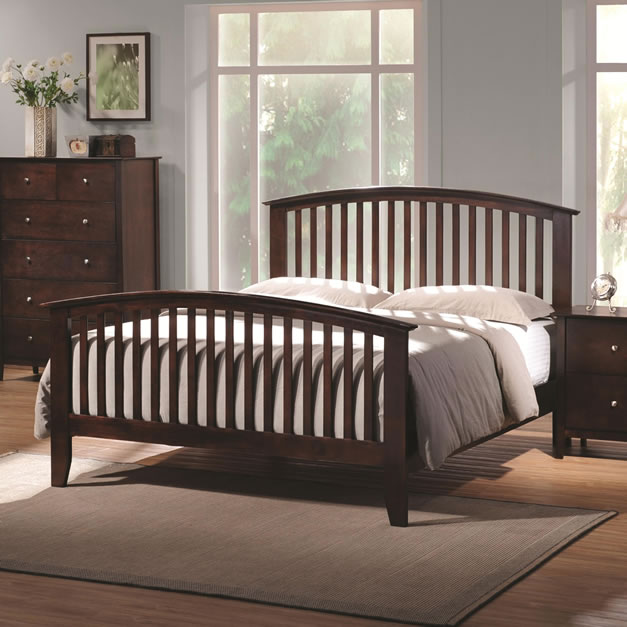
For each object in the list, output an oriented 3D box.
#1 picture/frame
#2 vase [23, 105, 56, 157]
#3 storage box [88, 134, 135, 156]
[{"bbox_3d":[-1.256,-1.555,5.007,0.584,0.723,0.048,1,2,10],"label":"picture/frame"},{"bbox_3d":[-1.706,-1.137,4.841,0.173,0.312,0.115,-1,3,-23],"label":"vase"},{"bbox_3d":[-1.263,-1.049,4.844,0.182,0.113,0.176,4,7,22],"label":"storage box"}]
